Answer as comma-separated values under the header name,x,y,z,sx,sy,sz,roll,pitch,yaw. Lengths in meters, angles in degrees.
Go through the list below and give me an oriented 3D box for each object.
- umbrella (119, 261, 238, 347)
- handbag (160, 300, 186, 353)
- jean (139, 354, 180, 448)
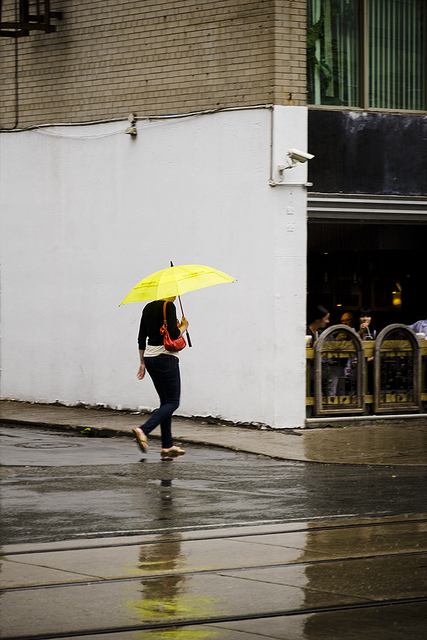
name,x,y,z,sx,sy,sz,roll,pitch,yaw
umbrella,-0.341,-0.163,10.972,1.170,0.875,1.106,-12,5,-33
handbag,-0.415,0.082,10.530,0.193,0.515,0.361,-11,-6,18
jean,-0.520,0.798,10.564,0.360,0.943,0.335,1,1,-2
